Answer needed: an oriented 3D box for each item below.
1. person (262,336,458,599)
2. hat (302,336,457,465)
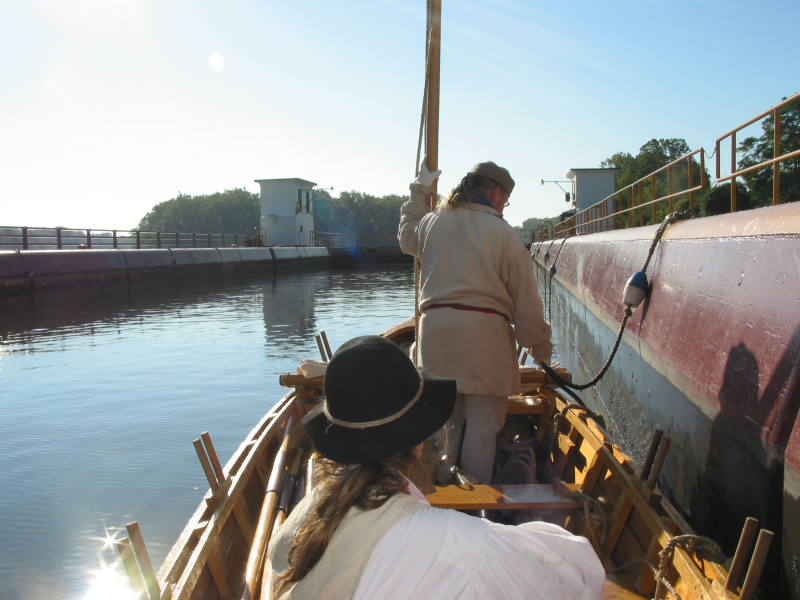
[{"bbox_3d":[-0.118,0.565,1.974,0.583,0.865,0.371,2,6,6],"label":"person"},{"bbox_3d":[-0.074,0.341,1.920,0.385,0.244,0.412,-30,19,-21],"label":"hat"}]
